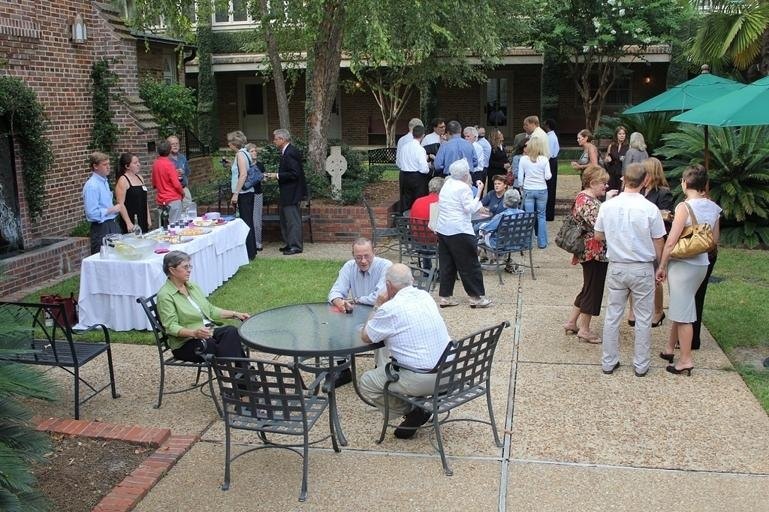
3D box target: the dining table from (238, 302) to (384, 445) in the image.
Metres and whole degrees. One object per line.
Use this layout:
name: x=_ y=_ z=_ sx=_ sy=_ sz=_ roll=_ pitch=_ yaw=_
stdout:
dining table: x=-0.841 y=1.429 z=8.773 sx=1.428 sy=0.950 sz=1.469 roll=11 pitch=30 yaw=20

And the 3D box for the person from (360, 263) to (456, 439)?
person: x=0.216 y=1.066 z=8.256 sx=0.953 sy=1.911 sz=0.542 roll=2 pitch=17 yaw=8

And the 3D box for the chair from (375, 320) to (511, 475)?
chair: x=0.629 y=1.404 z=8.498 sx=1.175 sy=1.485 sz=1.197 roll=-8 pitch=16 yaw=-35

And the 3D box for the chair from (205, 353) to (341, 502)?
chair: x=-1.086 y=1.504 z=8.307 sx=1.250 sy=1.869 sz=1.505 roll=1 pitch=20 yaw=11

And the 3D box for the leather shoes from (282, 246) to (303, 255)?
leather shoes: x=-1.747 y=-0.105 z=14.694 sx=0.409 sy=0.174 sz=0.136 roll=7 pitch=-2 yaw=-36

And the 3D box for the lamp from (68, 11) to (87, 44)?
lamp: x=-5.837 y=-4.332 z=14.869 sx=0.255 sy=0.544 sz=0.392 roll=-1 pitch=17 yaw=1

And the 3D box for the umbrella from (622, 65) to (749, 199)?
umbrella: x=5.315 y=-2.028 z=13.298 sx=1.879 sy=0.947 sz=1.875 roll=-11 pitch=23 yaw=7

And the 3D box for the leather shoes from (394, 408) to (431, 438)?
leather shoes: x=0.301 y=1.813 z=8.450 sx=0.231 sy=0.327 sz=0.108 roll=28 pitch=18 yaw=-31

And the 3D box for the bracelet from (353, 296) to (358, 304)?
bracelet: x=-0.346 y=0.526 z=9.181 sx=0.060 sy=0.028 sz=0.079 roll=1 pitch=17 yaw=-5

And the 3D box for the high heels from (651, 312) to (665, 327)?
high heels: x=3.870 y=0.897 z=10.867 sx=0.336 sy=0.166 sz=0.110 roll=-9 pitch=4 yaw=-37

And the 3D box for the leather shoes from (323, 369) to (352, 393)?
leather shoes: x=-0.542 y=1.457 z=9.229 sx=0.226 sy=0.111 sz=0.422 roll=2 pitch=10 yaw=18

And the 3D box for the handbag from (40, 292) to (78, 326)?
handbag: x=-4.480 y=0.732 z=10.723 sx=0.437 sy=0.470 sz=0.468 roll=-19 pitch=-8 yaw=26

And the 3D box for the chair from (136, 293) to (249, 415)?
chair: x=-2.381 y=1.144 z=9.418 sx=1.051 sy=1.346 sz=0.914 roll=1 pitch=5 yaw=2

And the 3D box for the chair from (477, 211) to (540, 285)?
chair: x=2.306 y=-0.096 z=12.847 sx=0.821 sy=1.127 sz=0.866 roll=5 pitch=-6 yaw=22

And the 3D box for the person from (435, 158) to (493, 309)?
person: x=1.131 y=-0.302 z=11.424 sx=0.725 sy=2.081 sz=0.699 roll=6 pitch=11 yaw=30

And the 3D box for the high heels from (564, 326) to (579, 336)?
high heels: x=2.534 y=1.018 z=10.607 sx=0.235 sy=0.122 sz=0.080 roll=-9 pitch=13 yaw=-1

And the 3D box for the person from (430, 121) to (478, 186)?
person: x=1.370 y=-2.104 z=15.046 sx=0.849 sy=0.980 sz=0.620 roll=-9 pitch=21 yaw=-10

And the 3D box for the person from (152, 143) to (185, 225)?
person: x=-3.857 y=-1.269 z=13.816 sx=0.488 sy=1.445 sz=0.918 roll=-6 pitch=18 yaw=-16

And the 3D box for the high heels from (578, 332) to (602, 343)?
high heels: x=2.725 y=1.096 z=10.345 sx=0.226 sy=0.096 sz=0.139 roll=-2 pitch=7 yaw=9

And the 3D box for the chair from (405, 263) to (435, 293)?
chair: x=0.610 y=0.370 z=12.625 sx=0.427 sy=0.586 sz=0.425 roll=16 pitch=37 yaw=24

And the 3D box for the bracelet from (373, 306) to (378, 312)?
bracelet: x=-0.102 y=0.585 z=8.554 sx=0.053 sy=0.072 sz=0.043 roll=3 pitch=2 yaw=2

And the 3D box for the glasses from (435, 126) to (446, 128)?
glasses: x=1.111 y=-2.605 z=15.732 sx=0.110 sy=0.036 sz=0.117 roll=-11 pitch=13 yaw=-32

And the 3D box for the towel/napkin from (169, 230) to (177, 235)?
towel/napkin: x=-3.210 y=-0.345 z=11.775 sx=0.096 sy=0.029 sz=0.104 roll=4 pitch=30 yaw=0

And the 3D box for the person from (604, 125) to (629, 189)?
person: x=4.655 y=-1.767 z=15.495 sx=0.468 sy=1.608 sz=0.478 roll=1 pitch=35 yaw=14

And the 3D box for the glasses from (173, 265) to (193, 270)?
glasses: x=-2.338 y=0.144 z=8.961 sx=0.111 sy=0.051 sz=0.085 roll=-1 pitch=11 yaw=21

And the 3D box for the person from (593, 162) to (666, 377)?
person: x=3.059 y=0.151 z=9.653 sx=0.850 sy=2.585 sz=0.777 roll=3 pitch=13 yaw=28

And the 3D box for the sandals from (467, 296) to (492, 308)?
sandals: x=1.408 y=0.687 z=11.585 sx=0.312 sy=0.160 sz=0.142 roll=-2 pitch=9 yaw=-1

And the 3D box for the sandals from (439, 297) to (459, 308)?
sandals: x=0.966 y=0.684 z=11.622 sx=0.273 sy=0.136 sz=0.131 roll=-4 pitch=13 yaw=-11

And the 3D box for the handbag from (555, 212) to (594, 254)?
handbag: x=2.450 y=-0.329 z=10.192 sx=0.211 sy=0.400 sz=0.366 roll=-13 pitch=38 yaw=-39

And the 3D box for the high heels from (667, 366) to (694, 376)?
high heels: x=3.613 y=1.413 z=9.527 sx=0.226 sy=0.092 sz=0.129 roll=10 pitch=7 yaw=13

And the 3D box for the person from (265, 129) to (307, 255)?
person: x=-1.803 y=-1.211 z=14.641 sx=0.652 sy=2.331 sz=0.853 roll=-3 pitch=17 yaw=-8

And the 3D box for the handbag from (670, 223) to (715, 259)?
handbag: x=3.654 y=-0.239 z=9.348 sx=0.472 sy=0.474 sz=0.189 roll=-6 pitch=-3 yaw=36

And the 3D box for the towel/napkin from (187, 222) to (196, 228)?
towel/napkin: x=-3.087 y=-0.487 z=12.421 sx=0.080 sy=0.061 sz=0.082 roll=-1 pitch=-3 yaw=41

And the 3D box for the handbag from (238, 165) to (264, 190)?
handbag: x=-2.388 y=-1.418 z=14.131 sx=0.437 sy=0.347 sz=0.171 roll=-16 pitch=-29 yaw=40

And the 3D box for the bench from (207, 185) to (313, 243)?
bench: x=-2.274 y=-0.759 z=14.502 sx=1.213 sy=0.780 sz=0.436 roll=1 pitch=9 yaw=6

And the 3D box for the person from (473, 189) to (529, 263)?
person: x=1.926 y=-0.327 z=12.795 sx=0.669 sy=1.220 sz=0.799 roll=-6 pitch=33 yaw=-14
